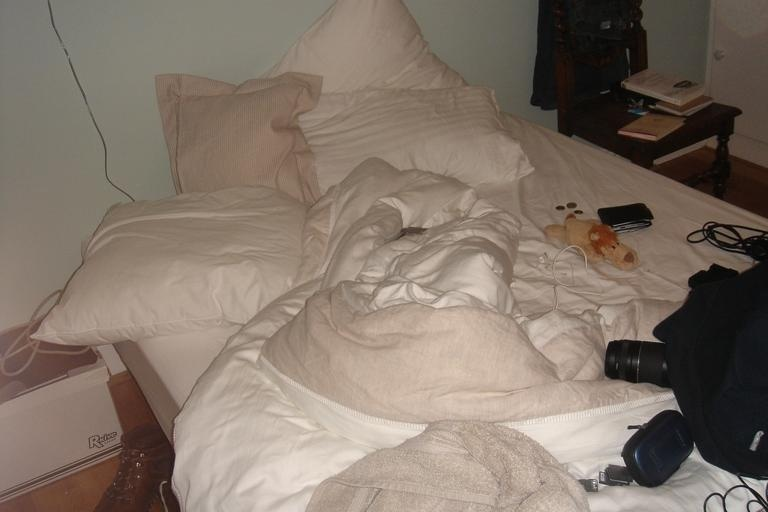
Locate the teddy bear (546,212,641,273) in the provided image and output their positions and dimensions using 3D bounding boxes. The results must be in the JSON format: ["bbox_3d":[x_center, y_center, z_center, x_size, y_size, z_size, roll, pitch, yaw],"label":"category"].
[{"bbox_3d":[0.711,-0.054,1.939,0.151,0.086,0.251,-34,52,-27],"label":"teddy bear"}]

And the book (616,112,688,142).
[{"bbox_3d":[1.191,-0.572,2.509,0.153,0.031,0.213,19,41,37],"label":"book"}]

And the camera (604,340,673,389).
[{"bbox_3d":[0.681,0.291,1.533,0.176,0.076,0.087,10,21,38],"label":"camera"}]

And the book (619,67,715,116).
[{"bbox_3d":[1.305,-0.774,2.653,0.251,0.092,0.334,-25,44,-25],"label":"book"}]

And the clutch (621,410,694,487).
[{"bbox_3d":[0.680,0.484,1.412,0.141,0.123,0.051,-31,-2,-10],"label":"clutch"}]
